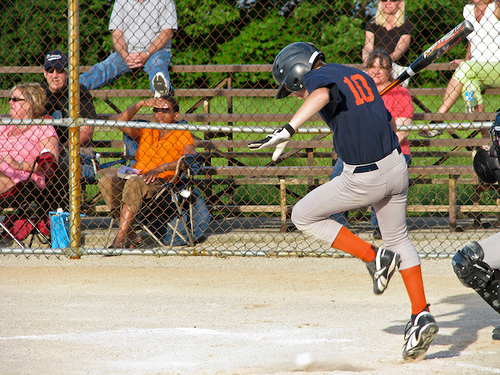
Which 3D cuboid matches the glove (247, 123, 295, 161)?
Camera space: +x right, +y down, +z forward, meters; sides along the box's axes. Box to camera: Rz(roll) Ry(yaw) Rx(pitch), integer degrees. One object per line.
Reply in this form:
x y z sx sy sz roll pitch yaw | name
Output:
0.205 -0.408 8.015 0.522 0.137 0.280 -14 37 -14 | glove

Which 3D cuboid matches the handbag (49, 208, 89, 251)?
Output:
-2.028 0.460 10.433 0.350 0.455 0.362 -2 -5 16 | handbag

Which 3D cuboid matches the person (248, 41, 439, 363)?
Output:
0.918 0.215 8.112 1.245 2.557 0.424 -2 5 1 | person

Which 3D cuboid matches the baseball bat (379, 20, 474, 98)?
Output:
1.627 -1.193 9.270 1.404 0.162 0.158 -38 7 43 | baseball bat

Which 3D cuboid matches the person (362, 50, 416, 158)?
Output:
1.593 -1.002 10.618 0.871 1.153 0.391 0 -13 -1 | person

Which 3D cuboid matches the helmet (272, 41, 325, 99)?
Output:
0.337 -1.016 8.236 0.414 0.512 0.382 22 19 -14 | helmet

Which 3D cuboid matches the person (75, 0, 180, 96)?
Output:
-1.370 -1.698 11.448 1.111 1.331 1.296 10 24 12 | person

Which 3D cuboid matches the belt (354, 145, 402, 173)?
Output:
1.041 -0.209 8.117 0.278 0.064 0.266 -19 2 -29 | belt

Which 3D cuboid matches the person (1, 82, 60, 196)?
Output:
-2.432 -0.556 10.408 0.642 1.209 0.741 -3 5 -11 | person

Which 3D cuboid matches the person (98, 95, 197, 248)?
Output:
-1.155 -0.200 10.717 1.092 1.692 0.634 -3 5 -4 | person

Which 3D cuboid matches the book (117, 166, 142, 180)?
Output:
-1.353 -0.172 10.591 0.265 0.132 0.223 -2 6 2 | book
